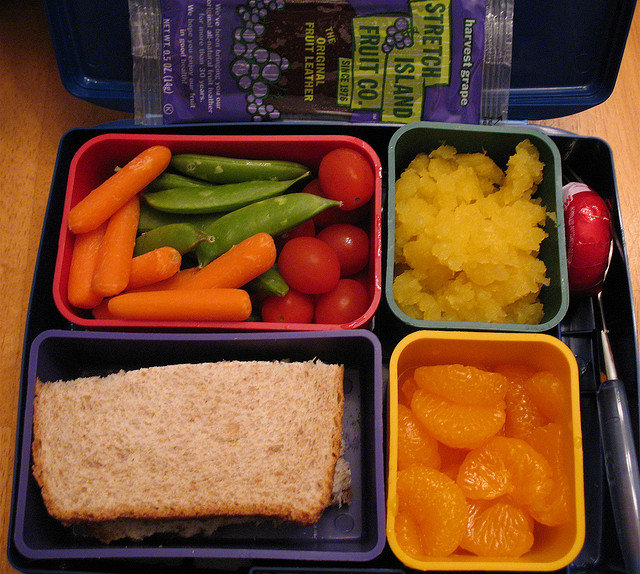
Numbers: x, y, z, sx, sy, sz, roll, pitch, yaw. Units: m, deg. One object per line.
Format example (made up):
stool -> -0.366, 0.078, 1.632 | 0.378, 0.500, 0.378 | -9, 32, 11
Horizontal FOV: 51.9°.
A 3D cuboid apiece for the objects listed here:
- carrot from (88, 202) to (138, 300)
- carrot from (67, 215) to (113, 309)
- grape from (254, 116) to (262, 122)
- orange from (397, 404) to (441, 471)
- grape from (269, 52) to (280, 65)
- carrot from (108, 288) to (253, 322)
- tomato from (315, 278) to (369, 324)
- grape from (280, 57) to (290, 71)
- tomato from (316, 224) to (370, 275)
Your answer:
carrot -> -0.541, -0.083, 1.773 | 0.075, 0.076, 0.302 | 23, 60, -31
carrot -> -0.627, -0.051, 1.804 | 0.075, 0.079, 0.287 | 17, 68, -22
grape -> -0.184, -0.494, 1.947 | 0.023, 0.011, 0.010 | -5, 53, -3
orange -> 0.246, 0.387, 1.689 | 0.102, 0.042, 0.154 | -1, 83, -18
grape -> -0.131, -0.654, 1.895 | 0.027, 0.021, 0.018 | 2, 53, 2
carrot -> -0.376, 0.044, 1.732 | 0.394, 0.118, 0.088 | 1, 52, 2
tomato -> 0.062, 0.050, 1.828 | 0.124, 0.101, 0.108 | -23, 83, 2
grape -> -0.102, -0.638, 1.898 | 0.026, 0.026, 0.020 | -5, 53, -3
tomato -> 0.055, -0.095, 1.868 | 0.121, 0.127, 0.168 | -1, 82, -10
